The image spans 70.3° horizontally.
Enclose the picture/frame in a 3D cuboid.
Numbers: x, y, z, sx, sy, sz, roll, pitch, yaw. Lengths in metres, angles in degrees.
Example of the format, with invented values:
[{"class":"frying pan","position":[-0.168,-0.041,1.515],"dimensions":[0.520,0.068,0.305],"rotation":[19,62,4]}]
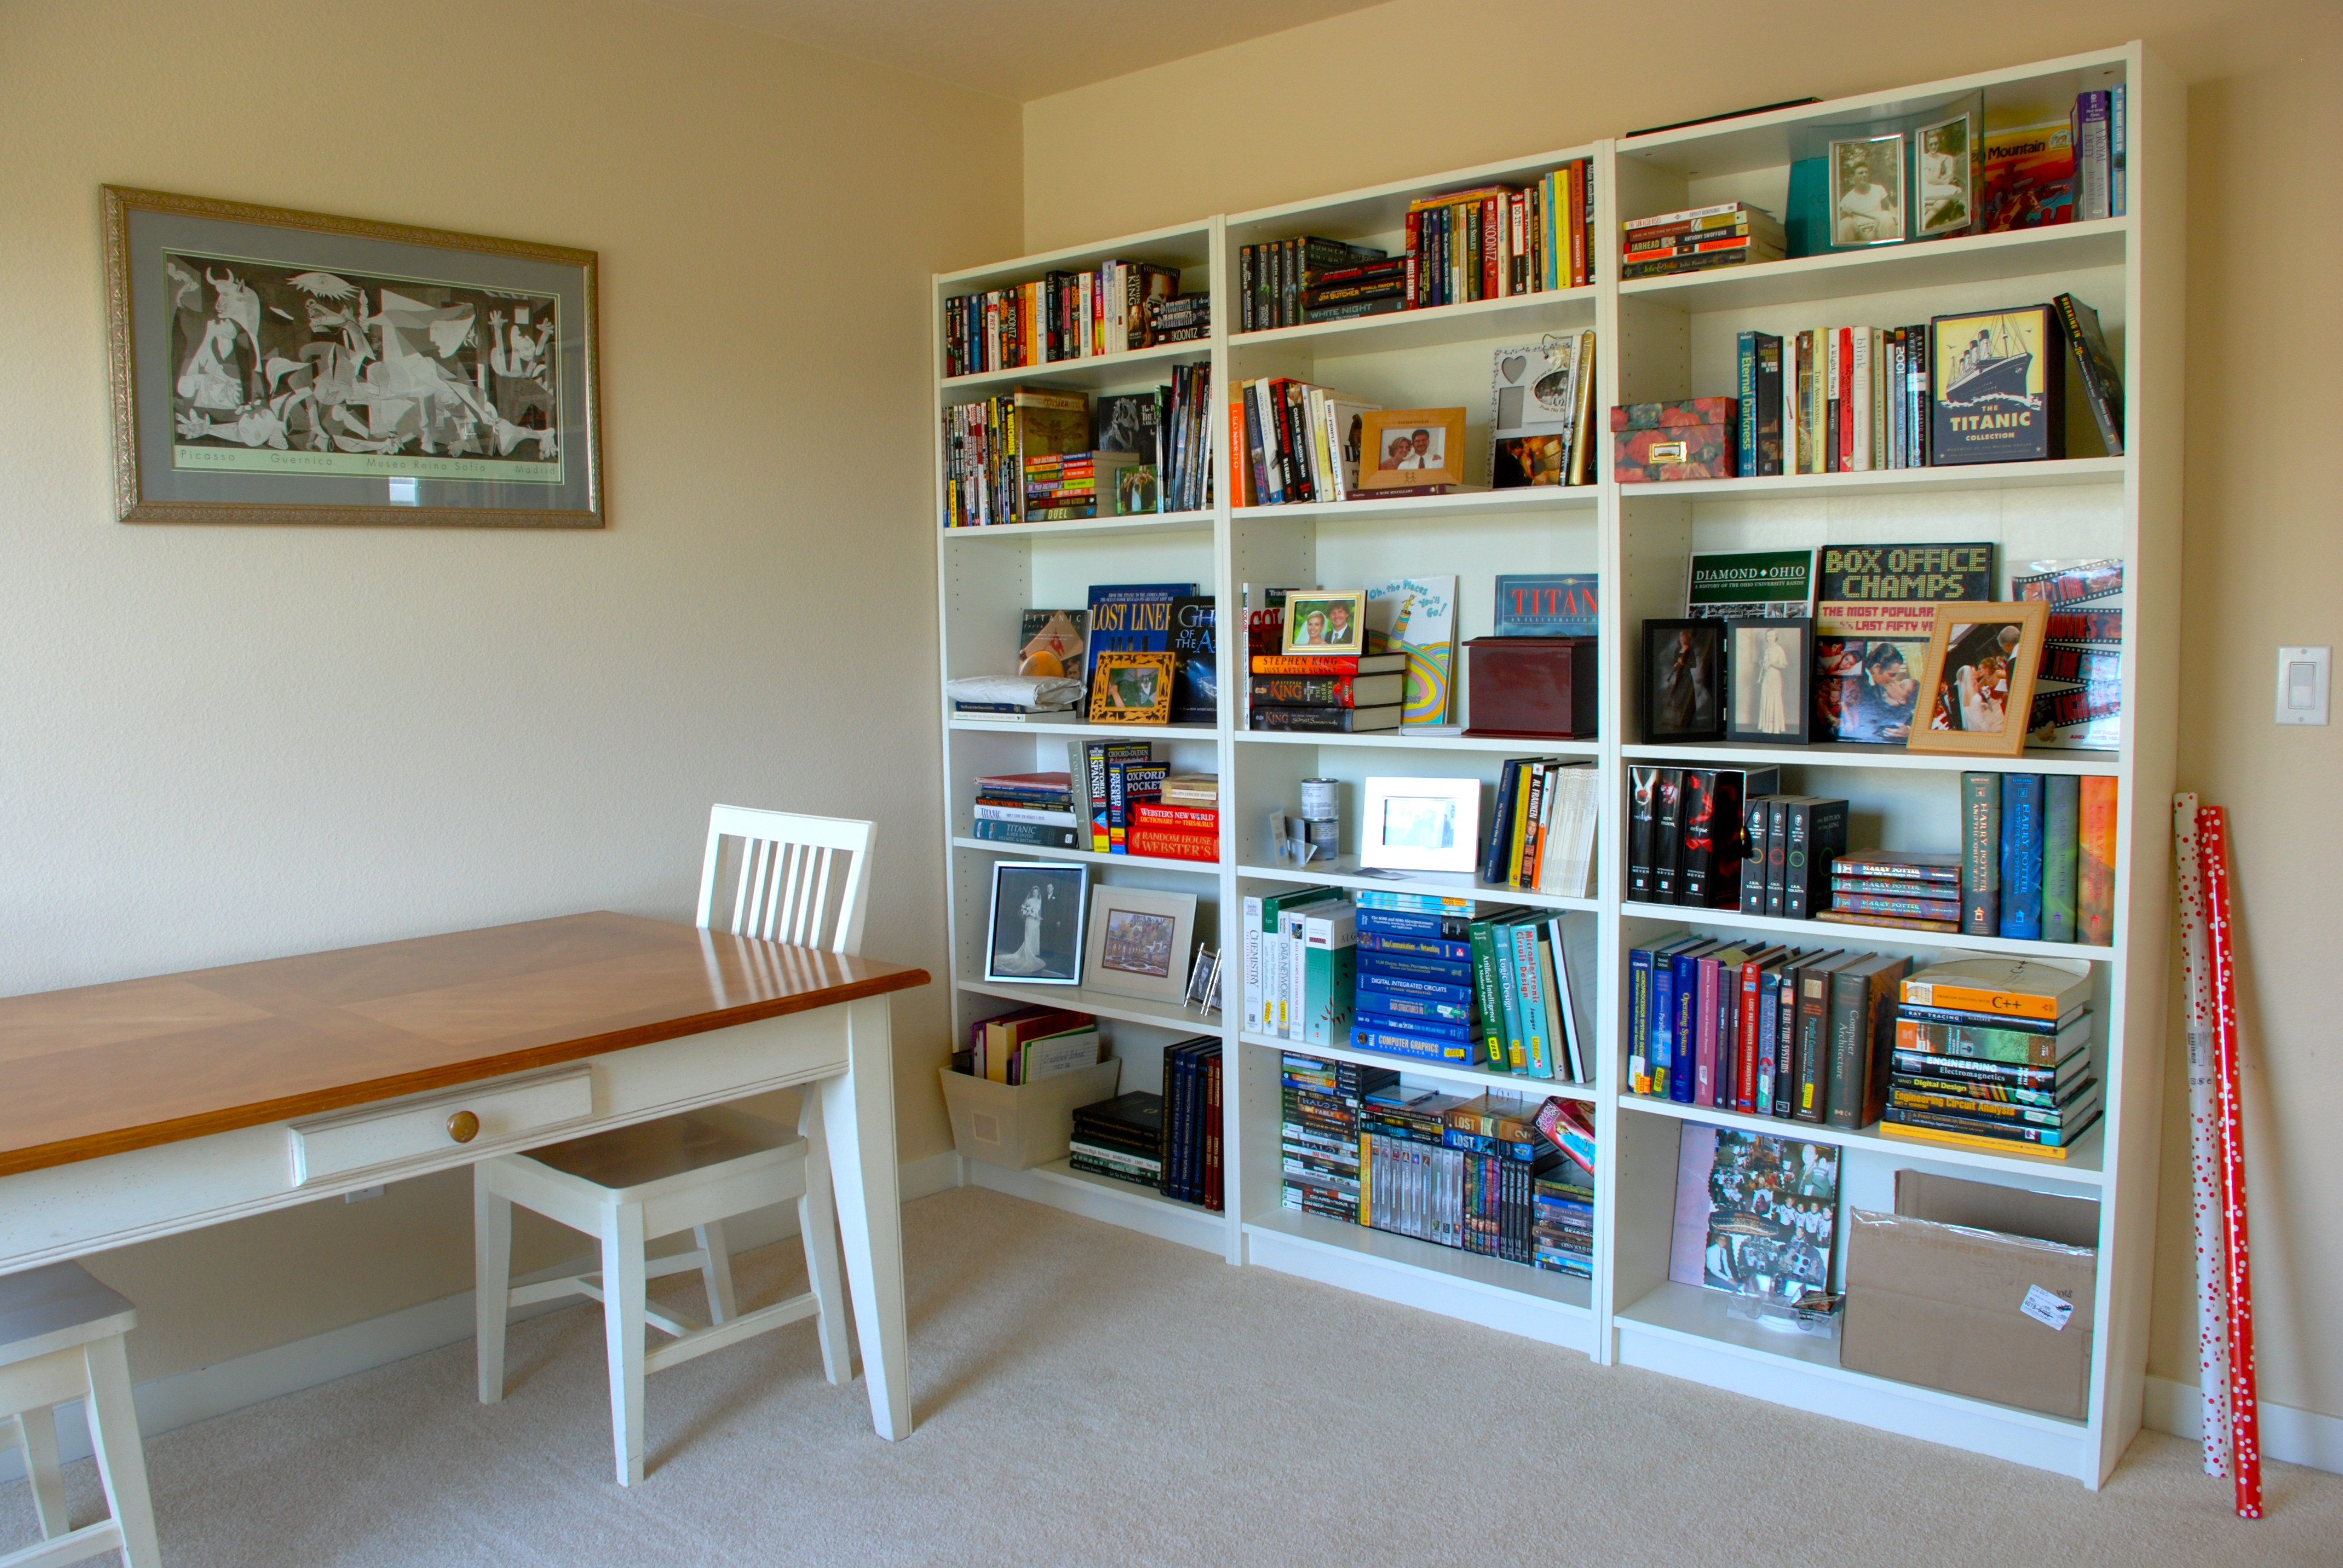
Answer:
[{"class":"picture/frame","position":[-1.933,-0.994,3.826],"dimensions":[0.961,0.672,0.037],"rotation":[-4,8,-38]}]
